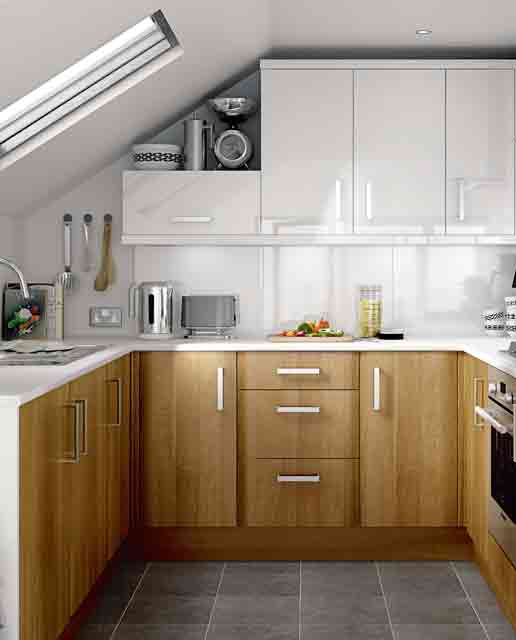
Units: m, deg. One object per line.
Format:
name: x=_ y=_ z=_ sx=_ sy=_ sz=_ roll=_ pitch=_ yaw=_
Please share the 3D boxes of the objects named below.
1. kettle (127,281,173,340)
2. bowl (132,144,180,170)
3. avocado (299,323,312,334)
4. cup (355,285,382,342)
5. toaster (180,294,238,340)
kettle: x=-0.454 y=-0.046 z=3.018 sx=0.246 sy=0.271 sz=0.187 roll=0 pitch=-1 yaw=-9
bowl: x=-0.442 y=-0.713 z=3.009 sx=0.142 sy=0.064 sz=0.141 roll=0 pitch=4 yaw=0
avocado: x=0.208 y=0.035 z=2.933 sx=0.042 sy=0.036 sz=0.043 roll=-1 pitch=-11 yaw=22
cup: x=0.520 y=-0.046 z=3.144 sx=0.116 sy=0.237 sz=0.231 roll=-1 pitch=3 yaw=10
toaster: x=-0.218 y=-0.014 z=2.997 sx=0.206 sy=0.176 sz=0.203 roll=0 pitch=-1 yaw=0
